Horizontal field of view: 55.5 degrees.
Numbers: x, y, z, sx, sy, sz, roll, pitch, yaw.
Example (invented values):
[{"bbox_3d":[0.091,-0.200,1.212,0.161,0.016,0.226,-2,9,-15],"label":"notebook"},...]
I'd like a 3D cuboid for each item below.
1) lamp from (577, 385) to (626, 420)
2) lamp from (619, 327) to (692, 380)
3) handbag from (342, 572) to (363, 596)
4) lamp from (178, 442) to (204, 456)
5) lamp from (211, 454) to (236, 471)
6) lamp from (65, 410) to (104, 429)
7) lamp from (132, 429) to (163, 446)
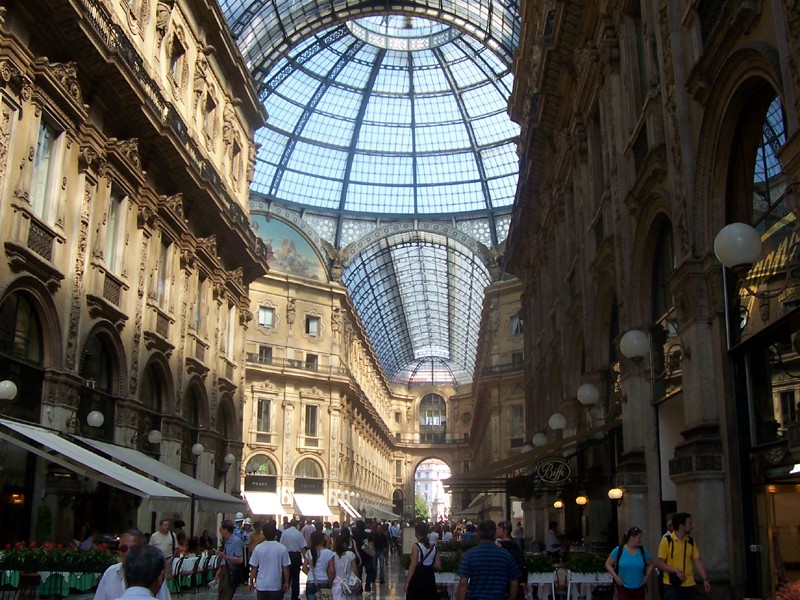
[{"bbox_3d":[4.749,2.425,18.122,1.688,0.817,0.688,9,-9,-39],"label":"lamp"},{"bbox_3d":[4.433,0.844,13.460,0.615,0.953,1.593,-1,-4,-19],"label":"lamp"},{"bbox_3d":[-0.738,4.607,12.381,0.154,0.274,0.372,-9,-35,-46],"label":"handbag"},{"bbox_3d":[-6.856,4.908,25.423,1.018,0.575,0.425,-19,-21,40],"label":"lamp"},{"bbox_3d":[-6.704,6.289,29.655,0.956,0.742,0.661,-9,-6,15],"label":"lamp"},{"bbox_3d":[-7.712,2.927,18.633,0.786,0.399,0.403,-1,-8,-1],"label":"lamp"},{"bbox_3d":[-7.370,4.076,22.535,0.982,0.465,0.465,-1,-18,27],"label":"lamp"}]
